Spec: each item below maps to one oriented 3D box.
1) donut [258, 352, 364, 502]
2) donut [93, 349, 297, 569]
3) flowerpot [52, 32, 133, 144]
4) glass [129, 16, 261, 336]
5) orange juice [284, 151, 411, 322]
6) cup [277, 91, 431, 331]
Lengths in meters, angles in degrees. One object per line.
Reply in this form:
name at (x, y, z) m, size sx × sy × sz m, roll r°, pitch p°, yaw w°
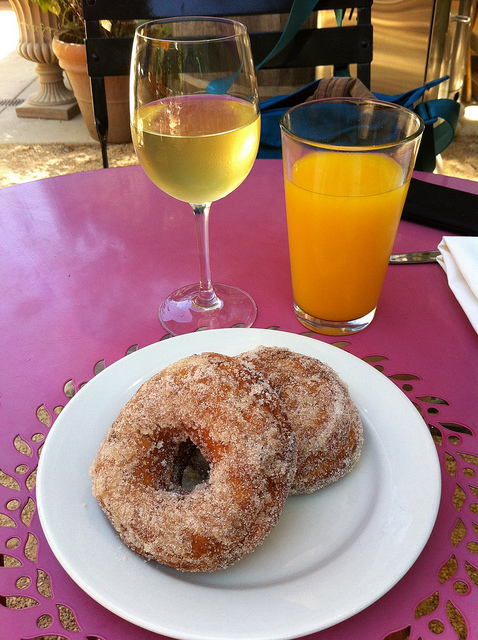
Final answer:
donut at (0.074, 0.090, 0.512) m, size 0.105 × 0.032 × 0.107 m, roll -10°, pitch 44°, yaw -6°
donut at (-0.036, 0.110, 0.452) m, size 0.160 × 0.057 × 0.153 m, roll -8°, pitch 62°, yaw 7°
flowerpot at (-0.769, -1.157, 2.936) m, size 0.422 × 0.544 × 0.308 m, roll 7°, pitch 38°, yaw 6°
glass at (-0.053, -0.173, 0.730) m, size 0.160 × 0.358 × 0.161 m, roll 10°, pitch 27°, yaw 24°
orange juice at (0.112, -0.101, 0.670) m, size 0.143 × 0.187 × 0.127 m, roll -2°, pitch 20°, yaw -1°
cup at (0.126, -0.147, 0.720) m, size 0.160 × 0.240 × 0.227 m, roll 10°, pitch 38°, yaw 9°
